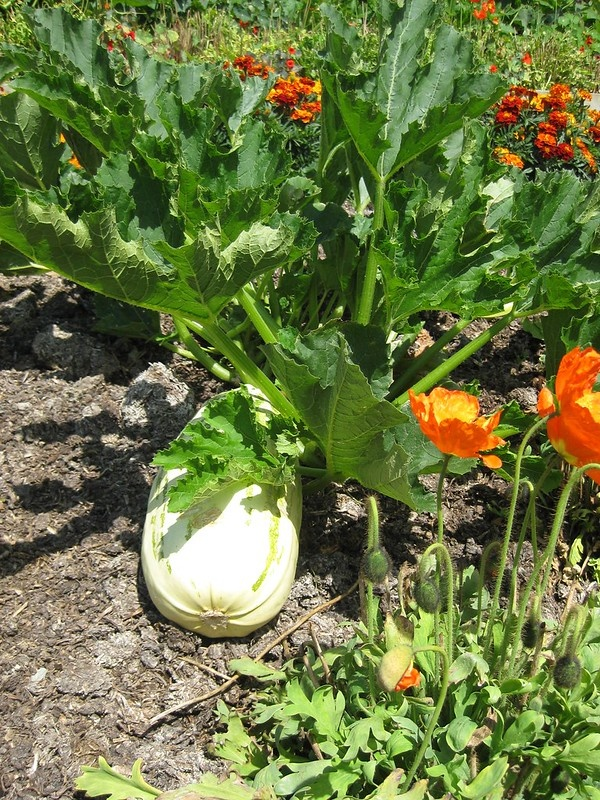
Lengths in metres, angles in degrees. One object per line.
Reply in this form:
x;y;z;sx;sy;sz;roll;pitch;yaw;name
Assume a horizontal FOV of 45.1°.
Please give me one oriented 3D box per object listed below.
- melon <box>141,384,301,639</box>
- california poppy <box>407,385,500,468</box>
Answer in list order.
-0.189;0.333;2.245;0.458;0.401;0.731;4;64;0;melon
0.311;0.056;1.434;0.153;0.092;0.197;44;40;20;california poppy
